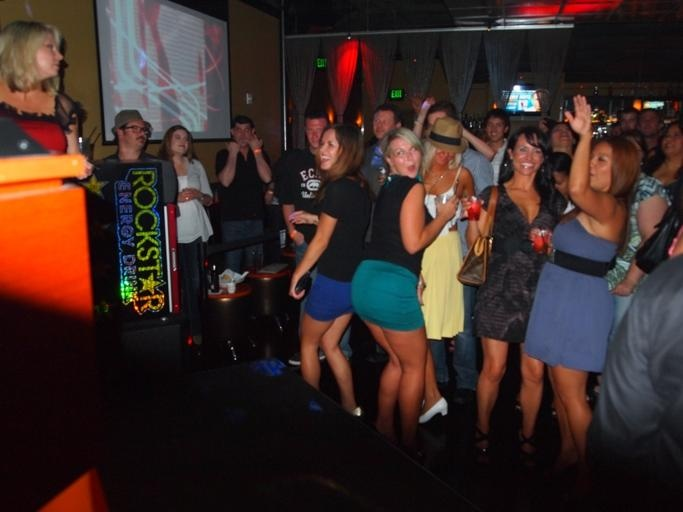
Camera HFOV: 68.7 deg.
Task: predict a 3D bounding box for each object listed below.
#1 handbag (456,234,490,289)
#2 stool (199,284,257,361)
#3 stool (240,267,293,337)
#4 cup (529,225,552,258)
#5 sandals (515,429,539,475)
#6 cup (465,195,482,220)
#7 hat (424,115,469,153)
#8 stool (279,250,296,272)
[{"bbox_3d":[0.763,0.030,2.876,0.128,0.309,0.305,17,1,16],"label":"handbag"},{"bbox_3d":[-0.973,0.575,4.360,0.462,0.550,0.481,-3,7,-4],"label":"stool"},{"bbox_3d":[-0.747,0.430,4.794,0.452,0.518,0.471,-4,2,-14],"label":"stool"},{"bbox_3d":[1.070,-0.080,2.679,0.145,0.151,0.096,-2,3,7],"label":"cup"},{"bbox_3d":[1.018,1.066,2.733,0.072,0.089,0.249,1,19,11],"label":"sandals"},{"bbox_3d":[0.747,-0.269,2.767,0.114,0.136,0.116,0,-1,0],"label":"cup"},{"bbox_3d":[0.681,-0.770,3.197,0.189,0.094,0.247,10,29,-13],"label":"hat"},{"bbox_3d":[-0.568,0.049,5.184,0.177,0.173,0.179,-2,11,-15],"label":"stool"}]
